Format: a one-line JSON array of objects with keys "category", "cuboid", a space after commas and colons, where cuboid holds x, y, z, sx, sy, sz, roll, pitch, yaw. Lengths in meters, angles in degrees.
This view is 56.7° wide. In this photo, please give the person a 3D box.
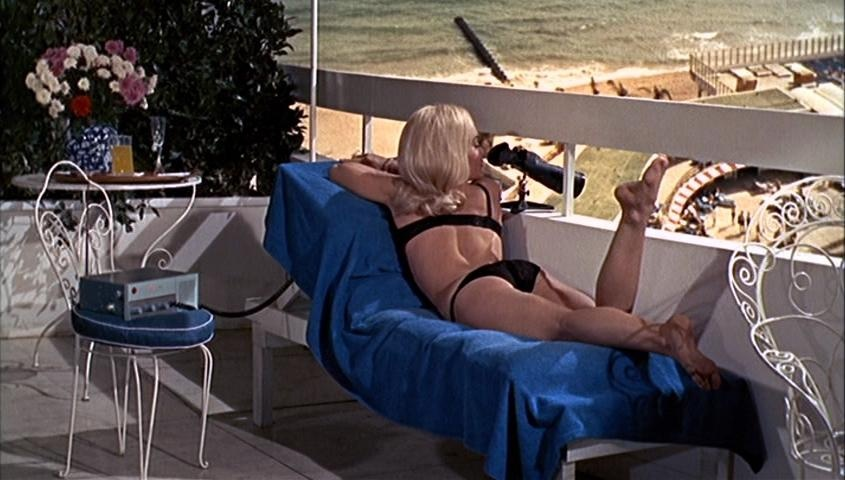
[{"category": "person", "cuboid": [0.584, -0.130, 4.666, 2.631, 1.105, 0.941, 18, 20, 35]}]

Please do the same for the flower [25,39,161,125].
[{"category": "flower", "cuboid": [-2.428, -1.121, 5.649, 0.767, 0.531, 1.003, 1, 5, -32]}]

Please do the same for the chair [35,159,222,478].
[{"category": "chair", "cuboid": [-1.923, 0.477, 4.716, 1.252, 2.234, 1.300, 0, 4, -10]}]

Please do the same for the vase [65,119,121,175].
[{"category": "vase", "cuboid": [-2.202, -0.628, 5.309, 0.342, 0.385, 0.389, 2, 10, 0]}]

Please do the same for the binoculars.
[{"category": "binoculars", "cuboid": [0.731, -0.449, 4.946, 0.637, 0.190, 0.208, 29, 19, 22]}]

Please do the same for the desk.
[{"category": "desk", "cuboid": [-1.756, 0.286, 4.454, 1.080, 1.150, 1.012, 11, 16, 8]}]
